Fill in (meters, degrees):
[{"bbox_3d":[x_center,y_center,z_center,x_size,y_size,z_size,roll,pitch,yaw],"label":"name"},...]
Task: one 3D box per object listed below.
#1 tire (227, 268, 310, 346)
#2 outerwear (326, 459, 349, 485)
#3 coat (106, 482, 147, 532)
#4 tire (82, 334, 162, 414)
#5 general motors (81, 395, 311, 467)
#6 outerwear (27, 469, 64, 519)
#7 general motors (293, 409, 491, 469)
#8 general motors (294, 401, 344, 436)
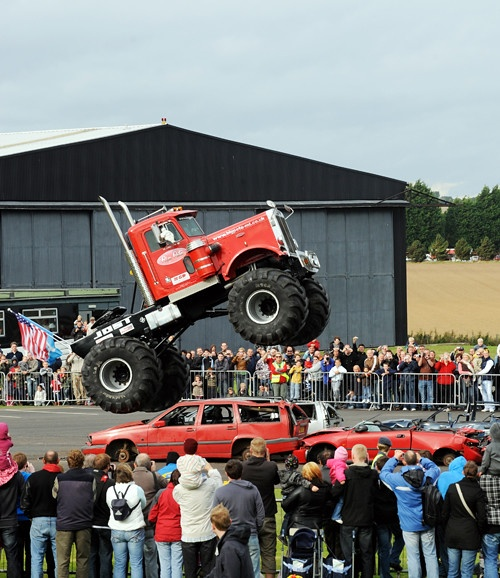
[{"bbox_3d":[0.309,0.246,23.580,0.959,0.964,0.345,-30,-3,25],"label":"tire"},{"bbox_3d":[1.184,2.488,19.599,0.131,0.325,0.210,-2,-23,-15],"label":"outerwear"},{"bbox_3d":[-1.614,2.873,18.947,0.619,0.753,0.438,-3,-8,14],"label":"coat"},{"bbox_3d":[-2.157,1.396,24.626,1.308,1.315,0.460,5,-1,22],"label":"tire"},{"bbox_3d":[-0.934,2.676,27.413,3.469,1.164,1.641,0,-5,7],"label":"general motors"},{"bbox_3d":[-2.679,2.739,19.107,0.630,0.877,0.345,0,9,-5],"label":"outerwear"},{"bbox_3d":[2.695,2.702,26.374,2.716,0.837,1.644,0,-4,10],"label":"general motors"},{"bbox_3d":[1.404,2.526,28.601,0.853,0.443,0.527,1,0,2],"label":"general motors"}]
